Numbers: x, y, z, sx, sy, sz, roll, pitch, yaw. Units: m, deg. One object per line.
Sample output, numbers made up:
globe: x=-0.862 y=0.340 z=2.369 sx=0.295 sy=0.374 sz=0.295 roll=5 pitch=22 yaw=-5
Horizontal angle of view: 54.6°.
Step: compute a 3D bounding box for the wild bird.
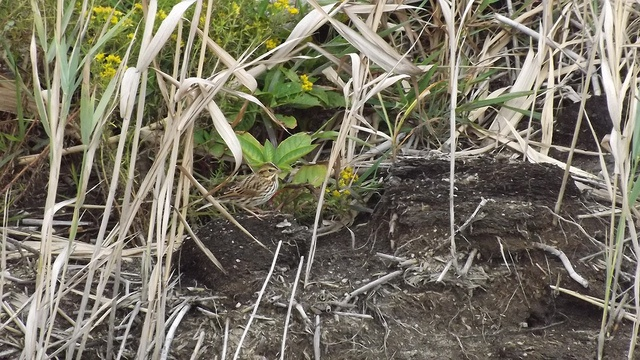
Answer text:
wild bird: x=-0.481 y=0.045 z=3.721 sx=0.595 sy=0.313 sz=0.159 roll=5 pitch=6 yaw=12
